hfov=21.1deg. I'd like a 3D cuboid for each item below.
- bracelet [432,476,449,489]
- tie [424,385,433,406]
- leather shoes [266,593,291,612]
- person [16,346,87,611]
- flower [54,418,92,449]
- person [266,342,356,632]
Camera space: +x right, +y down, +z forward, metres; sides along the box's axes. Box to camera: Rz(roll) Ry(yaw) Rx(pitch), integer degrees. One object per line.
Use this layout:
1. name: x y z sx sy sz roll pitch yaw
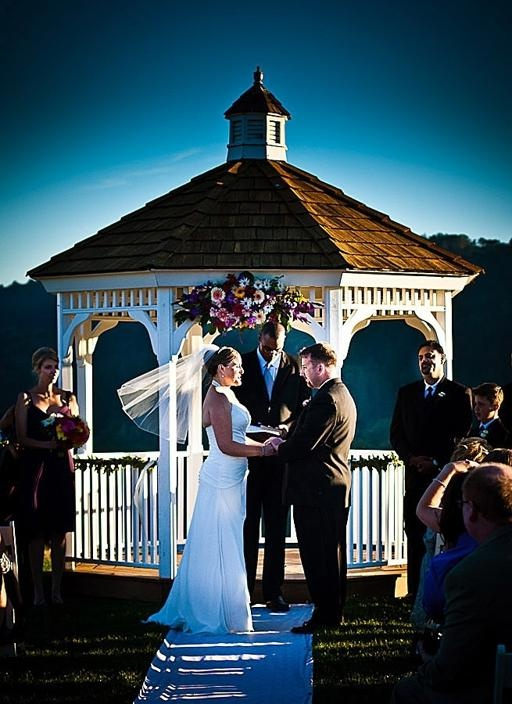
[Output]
1. bracelet: 1.273 0.891 9.422 0.076 0.080 0.079 0 -1 -14
2. tie: 1.491 0.353 11.771 0.073 0.129 0.030 6 -2 28
3. leather shoes: 0.202 2.174 11.823 0.089 0.109 0.242 6 -13 -33
4. person: -1.826 1.124 12.127 0.573 2.303 0.607 -3 10 -10
5. flower: -1.611 0.675 11.903 0.229 0.271 0.092 19 -1 -18
6. person: 0.509 1.245 11.003 0.648 2.072 0.385 -3 9 -7
